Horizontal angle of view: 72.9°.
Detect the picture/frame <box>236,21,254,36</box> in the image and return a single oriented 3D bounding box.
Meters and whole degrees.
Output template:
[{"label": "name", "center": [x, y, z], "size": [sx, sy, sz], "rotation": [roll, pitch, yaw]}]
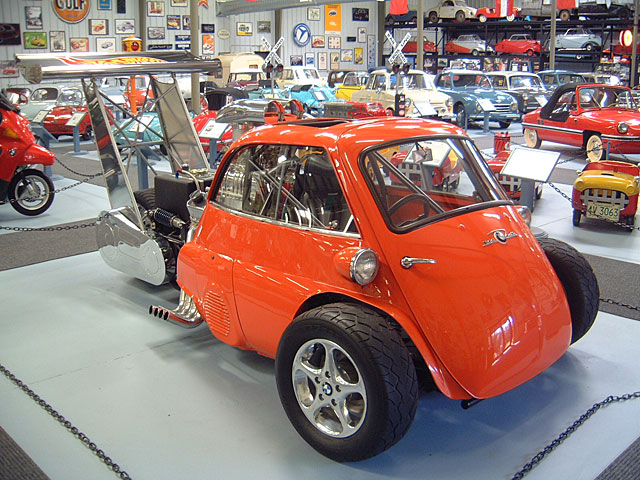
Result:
[{"label": "picture/frame", "center": [-4.695, -13.173, 26.921], "size": [1.114, 0.742, 0.114], "rotation": [-10, 9, -43]}]
